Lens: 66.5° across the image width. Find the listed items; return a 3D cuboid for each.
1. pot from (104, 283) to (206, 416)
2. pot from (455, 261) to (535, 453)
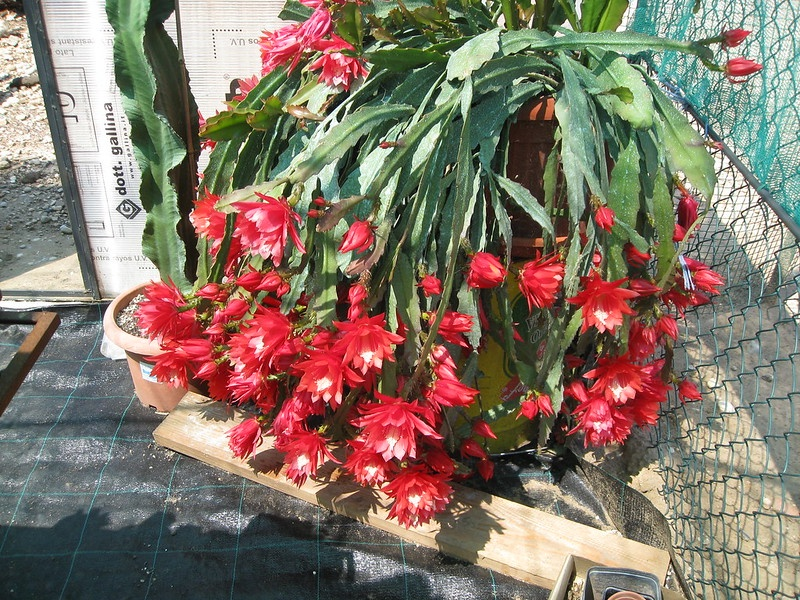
[{"bbox_3d":[-0.810,0.180,2.066,0.399,0.309,0.399,3,32,-2],"label":"pot"},{"bbox_3d":[0.243,0.129,1.570,0.295,0.463,0.280,-5,50,7],"label":"pot"}]
